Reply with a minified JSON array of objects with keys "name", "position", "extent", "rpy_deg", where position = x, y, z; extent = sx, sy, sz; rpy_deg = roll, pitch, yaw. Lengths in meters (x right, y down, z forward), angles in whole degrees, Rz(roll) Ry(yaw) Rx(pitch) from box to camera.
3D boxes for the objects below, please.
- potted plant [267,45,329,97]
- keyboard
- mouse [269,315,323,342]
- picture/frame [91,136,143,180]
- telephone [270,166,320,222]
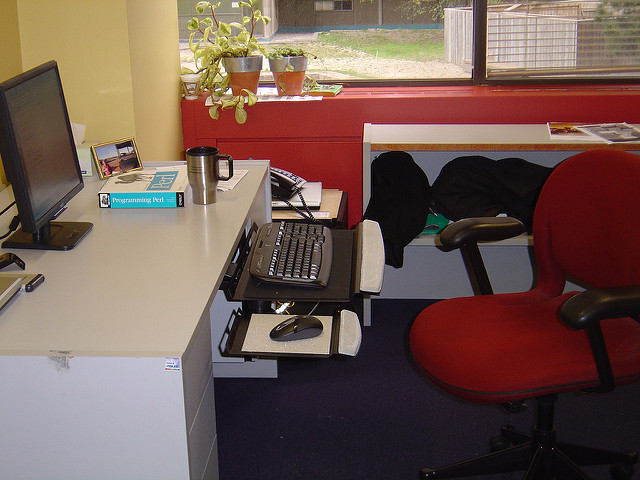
[{"name":"potted plant","position":[-0.186,-1.013,3.045],"extent":[0.245,0.267,0.154],"rpy_deg":[-9,26,-12]},{"name":"keyboard","position":[-0.086,0.045,1.646],"extent":[0.249,0.061,0.344],"rpy_deg":[1,31,3]},{"name":"mouse","position":[-0.062,0.242,1.361],"extent":[0.121,0.039,0.066],"rpy_deg":[-4,20,-8]},{"name":"picture/frame","position":[-0.855,-0.335,2.110],"extent":[0.243,0.183,0.025],"rpy_deg":[-17,0,-27]},{"name":"telephone","position":[-0.153,-0.187,2.674],"extent":[0.269,0.107,0.328],"rpy_deg":[14,29,-13]}]
